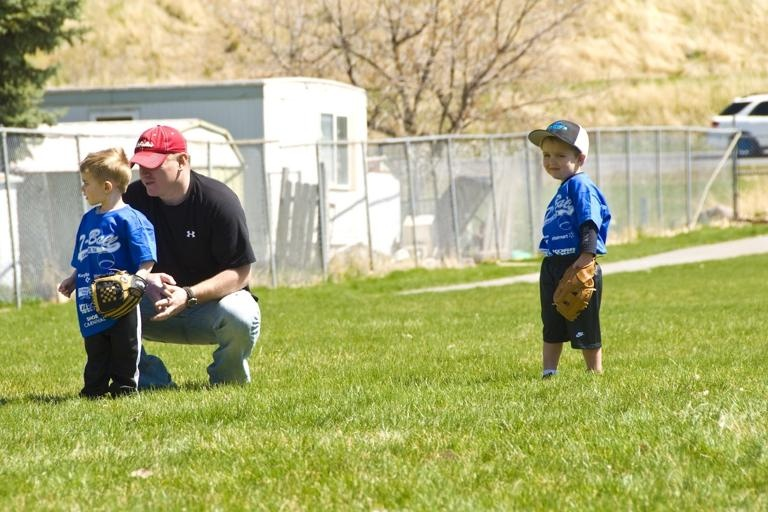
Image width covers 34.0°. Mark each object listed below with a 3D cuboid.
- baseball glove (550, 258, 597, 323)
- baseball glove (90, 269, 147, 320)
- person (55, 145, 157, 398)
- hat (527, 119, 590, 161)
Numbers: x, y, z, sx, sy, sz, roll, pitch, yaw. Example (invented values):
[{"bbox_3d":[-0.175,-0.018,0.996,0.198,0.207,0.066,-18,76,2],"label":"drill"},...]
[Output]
[{"bbox_3d":[1.645,0.325,11.203,0.337,0.495,0.176,35,5,6],"label":"baseball glove"},{"bbox_3d":[-2.326,0.353,11.023,0.470,0.409,0.203,-6,14,-15],"label":"baseball glove"},{"bbox_3d":[-2.408,0.160,11.159,0.759,2.137,0.547,-5,14,-12],"label":"person"},{"bbox_3d":[1.552,-1.099,11.357,0.437,0.238,0.331,29,-4,-24],"label":"hat"}]
